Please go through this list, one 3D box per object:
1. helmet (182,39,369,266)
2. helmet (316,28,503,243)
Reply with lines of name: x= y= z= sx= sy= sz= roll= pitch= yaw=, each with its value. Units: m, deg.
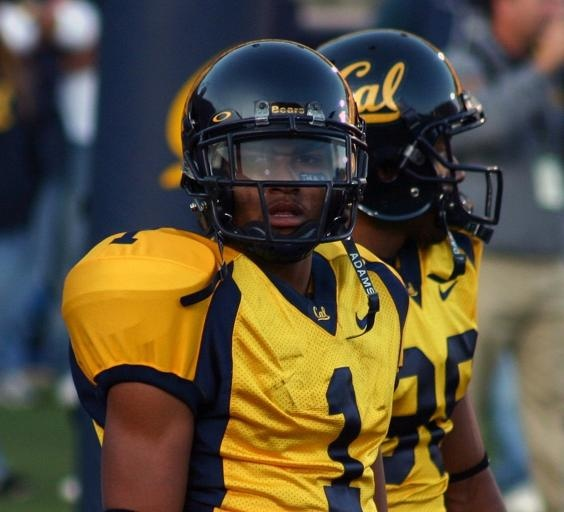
helmet: x=-0.082 y=-0.293 z=2.857 sx=0.399 sy=0.491 sz=0.555 roll=1 pitch=3 yaw=-13
helmet: x=0.366 y=-0.364 z=3.320 sx=0.571 sy=0.517 sz=0.483 roll=5 pitch=1 yaw=-3
